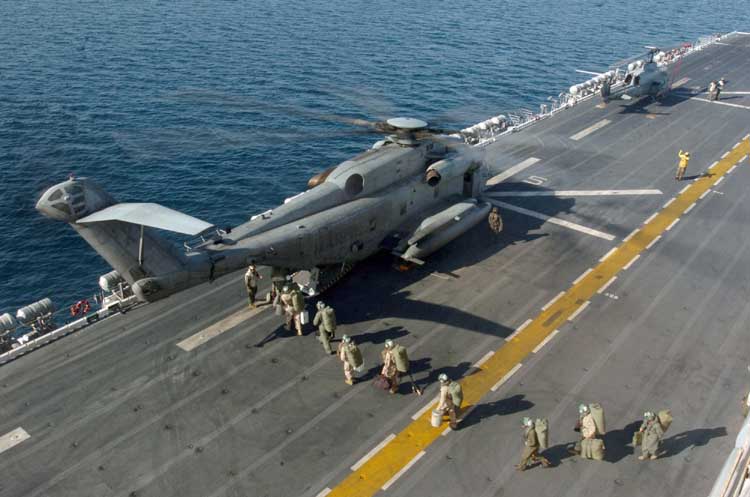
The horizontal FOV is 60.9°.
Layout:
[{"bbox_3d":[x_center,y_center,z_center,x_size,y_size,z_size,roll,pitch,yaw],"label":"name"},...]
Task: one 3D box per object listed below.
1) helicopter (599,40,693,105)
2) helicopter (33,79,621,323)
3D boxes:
[{"bbox_3d":[33.360,-22.642,77.544,8.060,7.164,32.793,17,32,20],"label":"helicopter"},{"bbox_3d":[-4.077,-2.004,40.320,25.763,10.384,6.100,-19,45,-31],"label":"helicopter"}]
